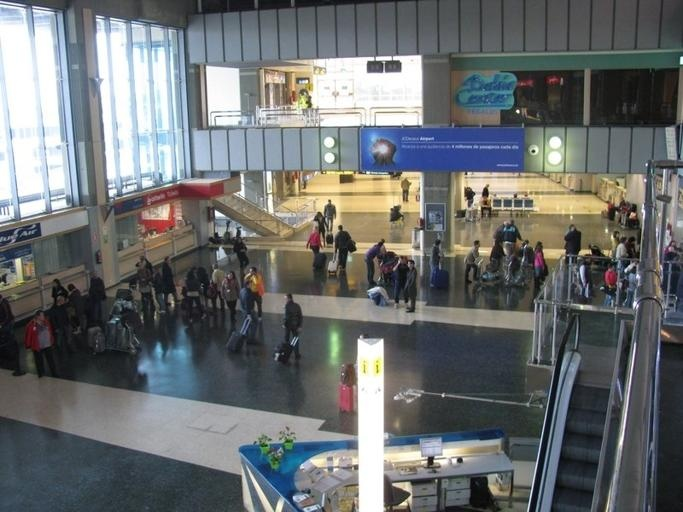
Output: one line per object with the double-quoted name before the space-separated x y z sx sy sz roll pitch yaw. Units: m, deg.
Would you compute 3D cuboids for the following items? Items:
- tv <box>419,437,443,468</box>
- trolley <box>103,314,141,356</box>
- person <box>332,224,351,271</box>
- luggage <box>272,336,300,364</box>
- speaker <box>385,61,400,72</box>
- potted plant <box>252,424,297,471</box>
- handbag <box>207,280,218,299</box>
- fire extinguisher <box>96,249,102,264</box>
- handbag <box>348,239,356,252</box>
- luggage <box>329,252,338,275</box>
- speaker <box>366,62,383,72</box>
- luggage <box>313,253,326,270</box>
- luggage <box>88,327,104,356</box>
"tv" 1.459 3.248 9.653 0.445 0.555 0.295 -1 5 -2
"trolley" -5.815 2.124 15.172 1.009 1.059 0.743 11 14 7
"person" -0.014 -0.423 21.855 0.632 1.624 0.486 -9 28 -13
"luggage" -1.384 2.328 14.459 0.412 0.572 0.705 9 16 39
"speaker" 2.108 -7.999 24.211 0.671 0.483 0.540 -1 12 1
"potted plant" -1.234 3.351 9.882 0.673 0.487 0.690 3 13 21
"handbag" -4.051 0.994 17.860 0.383 0.563 0.200 5 14 28
"fire extinguisher" -8.463 0.003 20.120 0.089 0.486 0.275 2 12 14
"handbag" 0.341 -0.417 21.852 0.243 0.503 0.448 1 12 10
"luggage" -0.372 0.304 21.466 0.359 0.724 0.487 -2 12 -3
"speaker" 1.374 -8.060 24.458 0.699 0.504 0.698 0 13 6
"luggage" -0.877 0.162 22.257 0.502 0.620 0.393 -5 13 -18
"luggage" -6.413 2.204 15.079 0.376 0.725 0.521 -6 16 -27
